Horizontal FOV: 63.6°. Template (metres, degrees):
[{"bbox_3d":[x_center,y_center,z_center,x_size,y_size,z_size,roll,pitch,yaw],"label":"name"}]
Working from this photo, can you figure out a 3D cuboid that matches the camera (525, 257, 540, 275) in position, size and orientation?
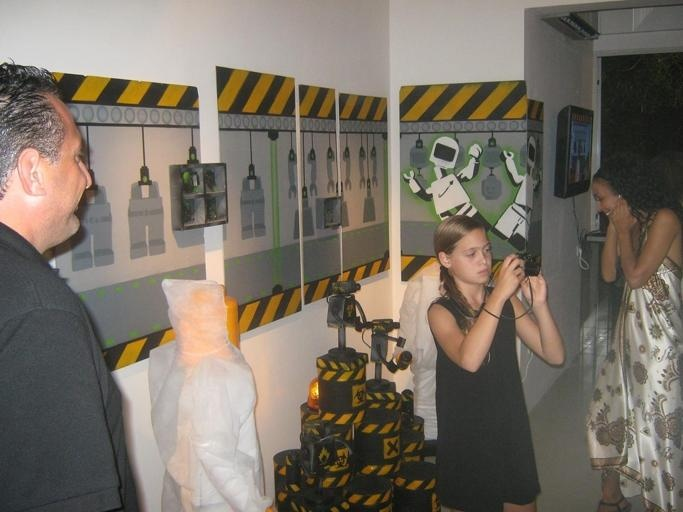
[{"bbox_3d":[0.854,0.048,2.478,0.069,0.061,0.104,2,13,14],"label":"camera"}]

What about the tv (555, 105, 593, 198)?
[{"bbox_3d":[2.047,-0.917,4.867,0.176,0.789,0.950,2,6,32],"label":"tv"}]
